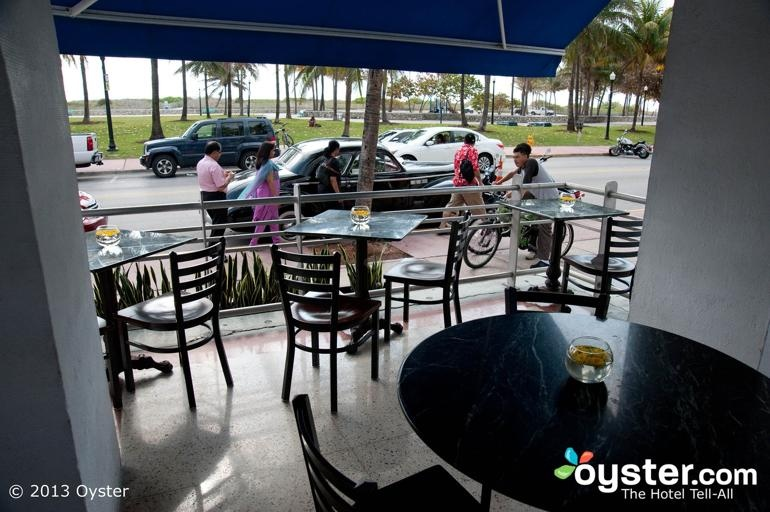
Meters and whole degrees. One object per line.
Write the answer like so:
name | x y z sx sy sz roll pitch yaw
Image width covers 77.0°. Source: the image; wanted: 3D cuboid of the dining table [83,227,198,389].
dining table | -2.200 0.360 4.535 0.815 1.219 1.079 -12 18 -29

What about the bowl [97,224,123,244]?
bowl | -2.542 -0.203 4.468 0.162 0.161 0.172 3 9 0

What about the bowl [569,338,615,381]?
bowl | 1.122 0.512 2.639 0.223 0.189 0.224 -1 16 0

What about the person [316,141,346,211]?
person | -1.001 -1.410 8.714 0.478 1.277 1.247 -4 16 -6

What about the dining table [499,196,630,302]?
dining table | 2.289 -0.083 6.286 1.382 1.323 1.365 -3 14 -17

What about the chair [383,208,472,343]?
chair | 0.334 0.118 5.815 1.244 1.881 1.193 4 10 13

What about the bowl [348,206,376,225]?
bowl | -0.248 -0.415 5.008 0.188 0.159 0.188 0 8 0

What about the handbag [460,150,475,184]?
handbag | 1.399 -1.514 8.176 0.243 0.358 0.451 -5 -18 16

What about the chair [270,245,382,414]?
chair | -0.547 0.479 4.682 0.936 1.398 1.481 -4 16 -4

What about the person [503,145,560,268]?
person | 2.262 -0.863 7.664 1.006 1.691 0.799 -1 17 -1

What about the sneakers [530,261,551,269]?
sneakers | 2.381 0.154 7.361 0.208 0.095 0.169 -22 24 -6
